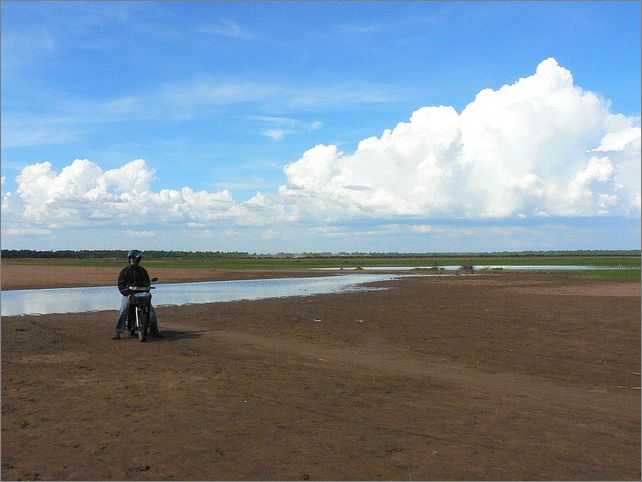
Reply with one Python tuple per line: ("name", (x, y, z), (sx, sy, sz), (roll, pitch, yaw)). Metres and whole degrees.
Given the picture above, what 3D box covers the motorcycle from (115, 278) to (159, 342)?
("motorcycle", (-6.425, 2.451, 20.898), (1.050, 2.128, 1.793), (-4, 0, -18))
